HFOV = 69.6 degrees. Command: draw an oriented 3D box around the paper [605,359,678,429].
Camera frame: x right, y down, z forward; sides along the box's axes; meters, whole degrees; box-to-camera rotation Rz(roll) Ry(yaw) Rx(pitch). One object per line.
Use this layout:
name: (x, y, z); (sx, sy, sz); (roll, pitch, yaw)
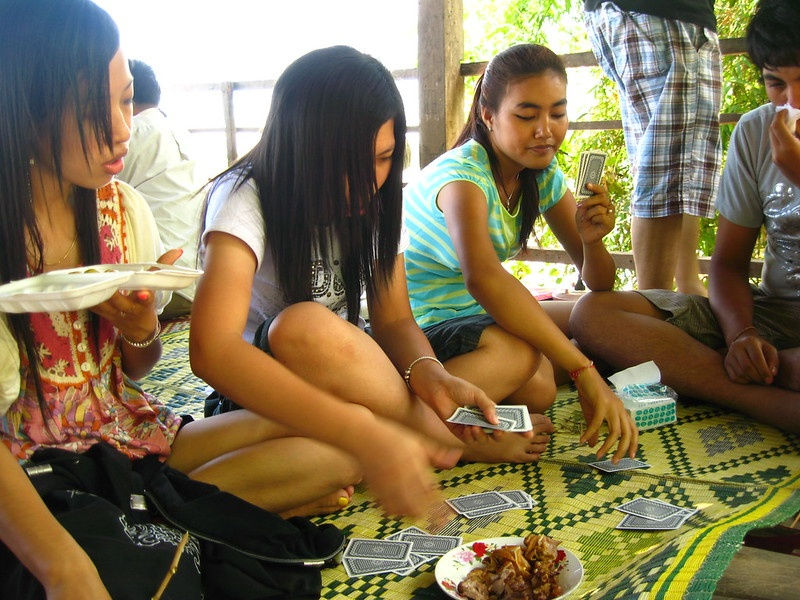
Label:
paper: (1.045, 0.403, 2.538); (0.246, 0.249, 0.240); (-11, 17, -14)

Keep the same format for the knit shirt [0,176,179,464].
knit shirt: (-0.946, 0.055, 1.929); (0.695, 0.729, 0.614); (-6, -1, 42)

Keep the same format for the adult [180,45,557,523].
adult: (-0.152, -0.114, 1.815); (0.902, 1.287, 0.992); (6, 15, 30)

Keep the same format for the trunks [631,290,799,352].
trunks: (1.523, 0.080, 2.668); (0.328, 0.129, 0.428); (17, 11, -34)

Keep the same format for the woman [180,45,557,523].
woman: (-0.089, -0.105, 1.782); (1.042, 1.316, 0.937); (0, 9, 19)

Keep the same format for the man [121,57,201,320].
man: (-2.012, -0.719, 4.585); (0.690, 2.139, 0.594); (6, 19, -7)
